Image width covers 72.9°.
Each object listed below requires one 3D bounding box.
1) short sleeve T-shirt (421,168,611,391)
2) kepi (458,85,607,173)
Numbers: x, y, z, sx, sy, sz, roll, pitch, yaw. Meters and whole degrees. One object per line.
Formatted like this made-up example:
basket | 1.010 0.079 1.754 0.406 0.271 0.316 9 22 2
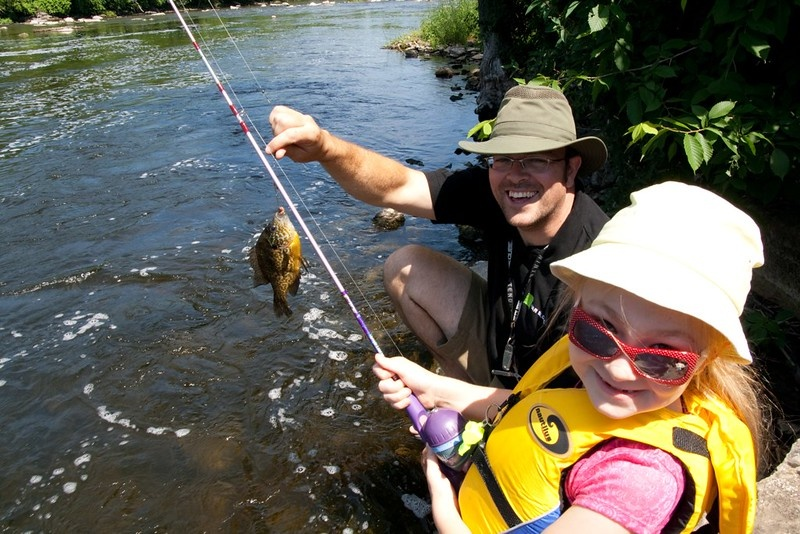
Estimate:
short sleeve T-shirt | 0.656 0.083 3.215 0.721 1.087 1.195 -16 31 -31
kepi | 0.857 -0.815 3.190 0.660 0.299 0.581 7 -6 -21
